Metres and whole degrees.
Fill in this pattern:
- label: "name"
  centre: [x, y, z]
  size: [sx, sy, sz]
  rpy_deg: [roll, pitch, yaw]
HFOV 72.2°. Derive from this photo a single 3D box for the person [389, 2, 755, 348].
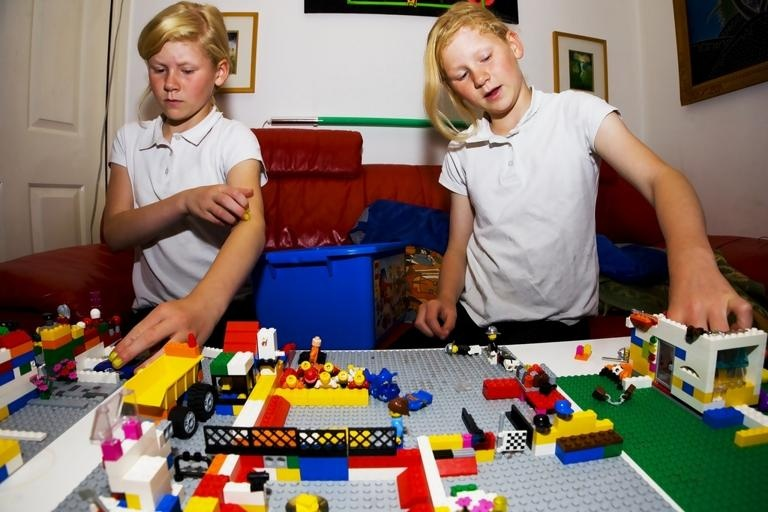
- label: "person"
  centre: [0.717, -0.308, 2.059]
  size: [1.235, 1.296, 0.660]
  rpy_deg: [-11, 12, 31]
